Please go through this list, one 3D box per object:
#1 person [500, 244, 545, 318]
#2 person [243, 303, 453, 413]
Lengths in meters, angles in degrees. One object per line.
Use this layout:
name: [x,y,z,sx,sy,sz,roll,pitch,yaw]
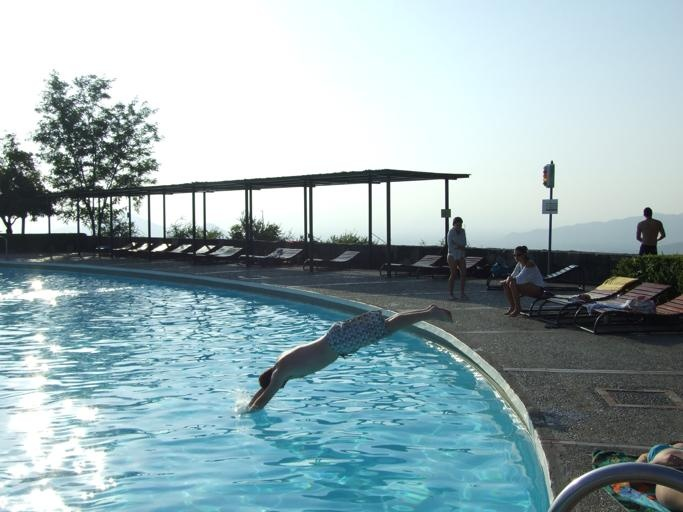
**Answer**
person: [3.268,0.422,11.309,0.682,1.147,1.061,-4,8,16]
person: [0.131,1.260,7.240,2.729,0.570,1.024,-19,9,11]
